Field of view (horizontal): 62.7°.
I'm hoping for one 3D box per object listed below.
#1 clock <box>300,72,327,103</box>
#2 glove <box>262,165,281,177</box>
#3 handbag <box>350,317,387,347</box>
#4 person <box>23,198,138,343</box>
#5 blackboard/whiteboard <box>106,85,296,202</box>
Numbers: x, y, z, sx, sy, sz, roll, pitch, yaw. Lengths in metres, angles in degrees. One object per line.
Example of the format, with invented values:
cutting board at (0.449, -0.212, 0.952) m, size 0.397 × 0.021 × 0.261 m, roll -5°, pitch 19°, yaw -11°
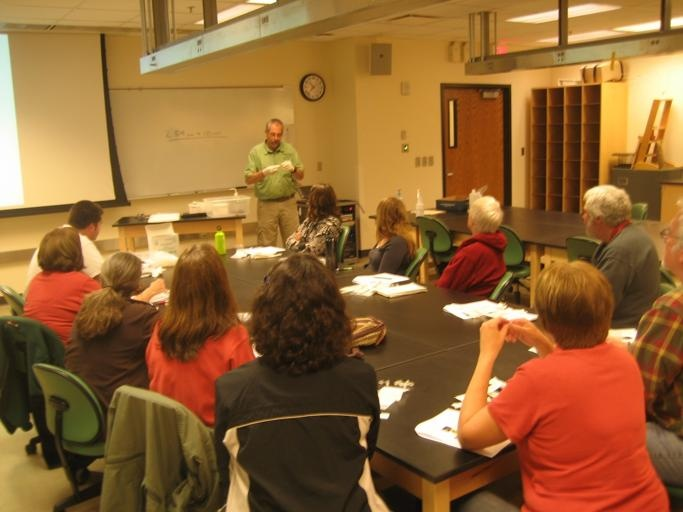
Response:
clock at (-0.391, -2.309, 7.687) m, size 0.404 × 0.359 × 0.079 m, roll -13°, pitch 14°, yaw -36°
glove at (-0.733, -0.893, 5.850) m, size 0.161 × 0.096 × 0.196 m, roll -10°, pitch 13°, yaw -26°
handbag at (0.128, 0.361, 2.691) m, size 0.155 × 0.073 × 0.187 m, roll -21°, pitch 27°, yaw -35°
person at (-1.654, 0.187, 3.425) m, size 0.404 × 1.012 × 0.439 m, roll 16°, pitch 13°, yaw 27°
blackboard/whiteboard at (-1.739, -1.482, 7.076) m, size 2.211 × 1.345 × 0.034 m, roll -13°, pitch 30°, yaw -37°
